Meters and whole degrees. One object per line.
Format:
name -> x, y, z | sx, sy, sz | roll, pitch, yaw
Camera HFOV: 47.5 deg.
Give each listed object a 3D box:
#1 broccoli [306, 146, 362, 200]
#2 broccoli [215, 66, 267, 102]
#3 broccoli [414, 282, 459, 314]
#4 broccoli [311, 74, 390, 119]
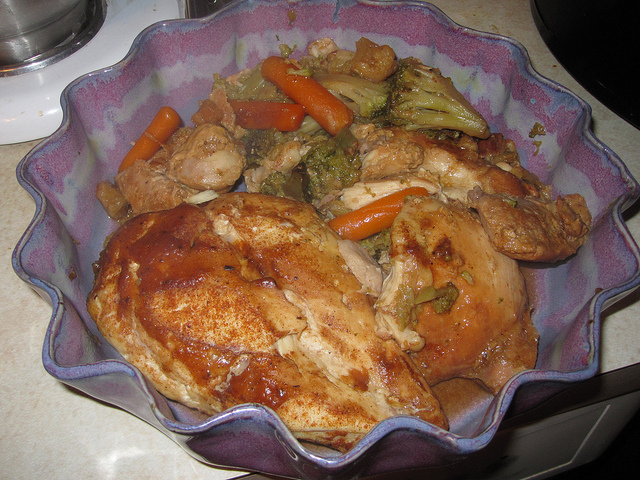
broccoli -> 0.087, -0.408, 4.228 | 0.272, 0.091, 0.320 | 1, 82, -4
broccoli -> -0.485, -0.950, 4.614 | 0.237, 0.080, 0.243 | -31, 74, -29
broccoli -> 0.624, 0.309, 3.865 | 0.194, 0.052, 0.137 | -32, 94, 3
broccoli -> 0.188, -0.911, 4.587 | 0.502, 0.127, 0.244 | 28, 77, 10
